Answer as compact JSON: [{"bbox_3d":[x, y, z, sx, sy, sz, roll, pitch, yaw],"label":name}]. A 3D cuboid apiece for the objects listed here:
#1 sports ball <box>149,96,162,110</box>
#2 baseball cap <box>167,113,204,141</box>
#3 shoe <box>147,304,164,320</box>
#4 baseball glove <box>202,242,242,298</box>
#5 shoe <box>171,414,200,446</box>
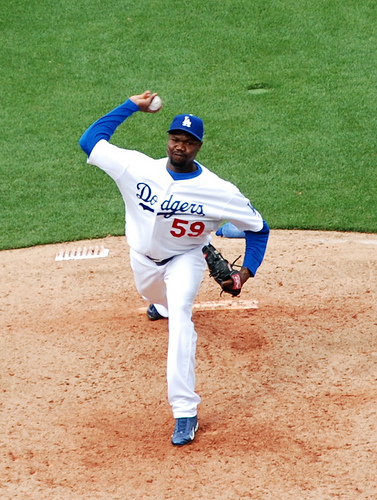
[{"bbox_3d":[-0.240,-1.073,4.647,0.078,0.089,0.091,23,70,-25],"label":"sports ball"},{"bbox_3d":[-0.014,-0.885,4.482,0.229,0.208,0.285,6,54,4],"label":"baseball cap"},{"bbox_3d":[-0.313,0.553,5.522,0.158,0.150,0.086,40,69,-22],"label":"shoe"},{"bbox_3d":[0.233,0.151,4.506,0.329,0.147,0.306,-17,91,-8],"label":"baseball glove"},{"bbox_3d":[-0.021,1.163,4.059,0.091,0.117,0.253,10,49,7],"label":"shoe"}]
